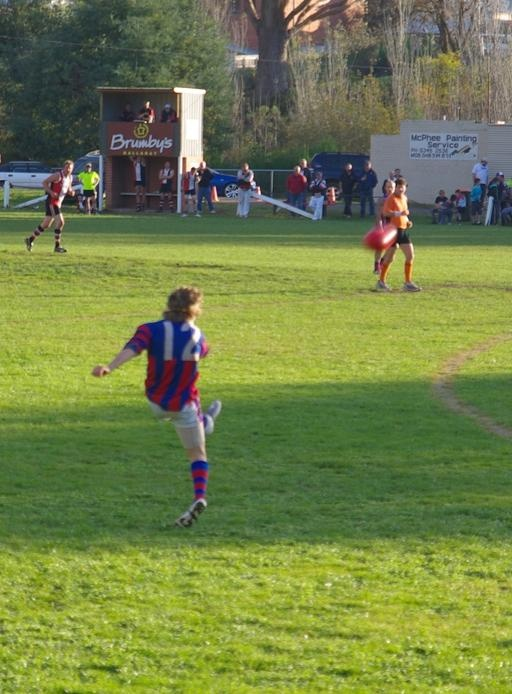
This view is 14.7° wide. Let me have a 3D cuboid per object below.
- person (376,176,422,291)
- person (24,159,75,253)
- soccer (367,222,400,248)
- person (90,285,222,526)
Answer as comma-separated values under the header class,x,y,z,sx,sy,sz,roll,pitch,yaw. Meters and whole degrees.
class,x,y,z,sx,sy,sz,roll,pitch,yaw
person,2.433,-1.896,33.972,0.657,1.917,0.747,1,1,18
person,-3.921,-2.755,37.445,0.837,2.476,0.924,7,14,23
soccer,2.058,-1.808,33.243,0.424,0.394,0.846,1,6,21
person,-1.156,0.641,23.023,1.000,2.719,1.393,1,2,14
